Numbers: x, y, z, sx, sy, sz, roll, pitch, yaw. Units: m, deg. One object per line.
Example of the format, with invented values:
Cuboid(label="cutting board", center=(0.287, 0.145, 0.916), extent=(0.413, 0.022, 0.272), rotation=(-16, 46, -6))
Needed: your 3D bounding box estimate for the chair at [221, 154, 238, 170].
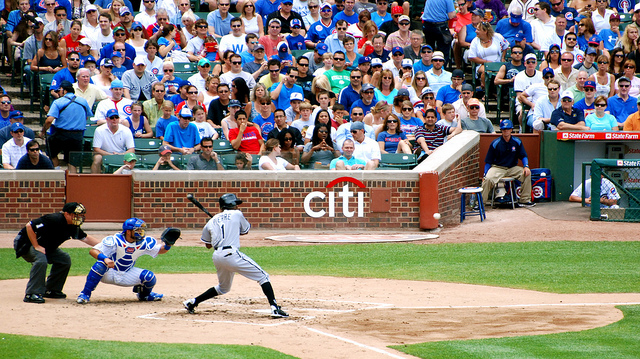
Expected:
Cuboid(label="chair", center=(-2.871, -0.556, 38.785), extent=(0.474, 0.545, 0.463), rotation=(0, 13, -5))

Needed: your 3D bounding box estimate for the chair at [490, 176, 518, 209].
Cuboid(label="chair", center=(6.199, 0.341, 40.113), extent=(1.042, 1.267, 0.981), rotation=(3, 19, 9))

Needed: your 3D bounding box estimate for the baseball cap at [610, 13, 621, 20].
Cuboid(label="baseball cap", center=(10.850, -5.962, 44.683), extent=(0.277, 0.284, 0.502), rotation=(-1, -1, 38))

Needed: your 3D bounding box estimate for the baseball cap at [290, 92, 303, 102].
Cuboid(label="baseball cap", center=(-0.731, -2.691, 39.929), extent=(0.408, 0.268, 0.325), rotation=(0, -1, -4))

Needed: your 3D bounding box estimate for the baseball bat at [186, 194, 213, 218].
Cuboid(label="baseball bat", center=(-3.618, 0.777, 37.009), extent=(0.186, 0.964, 0.106), rotation=(-30, 29, 28))

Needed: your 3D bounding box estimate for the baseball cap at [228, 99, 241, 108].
Cuboid(label="baseball cap", center=(-2.718, -2.452, 39.295), extent=(0.371, 0.275, 0.493), rotation=(0, -1, -12))

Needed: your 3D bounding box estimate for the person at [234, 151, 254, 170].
Cuboid(label="person", center=(-2.386, -0.605, 38.597), extent=(0.616, 0.797, 0.526), rotation=(-1, -7, -8))

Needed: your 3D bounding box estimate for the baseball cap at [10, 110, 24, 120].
Cuboid(label="baseball cap", center=(-9.377, -1.996, 37.928), extent=(0.350, 0.256, 0.345), rotation=(1, -1, -27))

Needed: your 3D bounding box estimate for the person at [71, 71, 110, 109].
Cuboid(label="person", center=(-7.457, -2.908, 39.862), extent=(1.091, 1.178, 0.588), rotation=(0, -1, -10))

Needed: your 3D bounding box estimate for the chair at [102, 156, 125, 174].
Cuboid(label="chair", center=(-6.485, -0.556, 38.579), extent=(0.689, 0.613, 0.568), rotation=(0, 18, -10))

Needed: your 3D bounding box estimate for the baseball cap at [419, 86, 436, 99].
Cuboid(label="baseball cap", center=(3.656, -2.888, 40.778), extent=(0.423, 0.201, 0.396), rotation=(-1, -6, -10))

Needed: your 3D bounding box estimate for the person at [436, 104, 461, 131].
Cuboid(label="person", center=(4.309, -2.022, 40.204), extent=(0.841, 0.774, 0.439), rotation=(-9, 15, -32))

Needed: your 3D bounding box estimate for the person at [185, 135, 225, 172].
Cuboid(label="person", center=(-3.561, -0.802, 38.491), extent=(1.210, 0.993, 0.927), rotation=(0, -1, -20))

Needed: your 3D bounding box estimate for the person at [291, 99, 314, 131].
Cuboid(label="person", center=(-0.553, -2.046, 39.610), extent=(1.178, 0.998, 0.641), rotation=(0, 1, -11))

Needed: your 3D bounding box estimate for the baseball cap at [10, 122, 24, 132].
Cuboid(label="baseball cap", center=(-9.258, -1.621, 37.603), extent=(0.377, 0.264, 0.276), rotation=(1, -1, -26))

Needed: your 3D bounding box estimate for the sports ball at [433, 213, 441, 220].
Cuboid(label="sports ball", center=(3.713, 1.157, 38.344), extent=(0.204, 0.114, 0.195), rotation=(-1, 10, 0))

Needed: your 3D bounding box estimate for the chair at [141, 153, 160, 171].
Cuboid(label="chair", center=(-5.333, -0.554, 38.944), extent=(0.496, 0.624, 0.516), rotation=(1, -10, -4))

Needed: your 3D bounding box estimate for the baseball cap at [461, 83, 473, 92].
Cuboid(label="baseball cap", center=(4.910, -3.049, 40.581), extent=(0.341, 0.241, 0.395), rotation=(0, -1, 0))

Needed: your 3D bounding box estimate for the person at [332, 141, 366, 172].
Cuboid(label="person", center=(0.979, -0.576, 38.786), extent=(1.323, 0.986, 0.886), rotation=(-1, 8, -15))

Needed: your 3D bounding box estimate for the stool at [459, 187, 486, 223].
Cuboid(label="stool", center=(4.827, 0.782, 39.585), extent=(1.101, 1.350, 1.055), rotation=(0, -1, 12))

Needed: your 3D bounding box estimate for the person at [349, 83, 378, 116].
Cuboid(label="person", center=(1.464, -2.610, 39.765), extent=(0.861, 0.995, 1.019), rotation=(0, -1, 2))
